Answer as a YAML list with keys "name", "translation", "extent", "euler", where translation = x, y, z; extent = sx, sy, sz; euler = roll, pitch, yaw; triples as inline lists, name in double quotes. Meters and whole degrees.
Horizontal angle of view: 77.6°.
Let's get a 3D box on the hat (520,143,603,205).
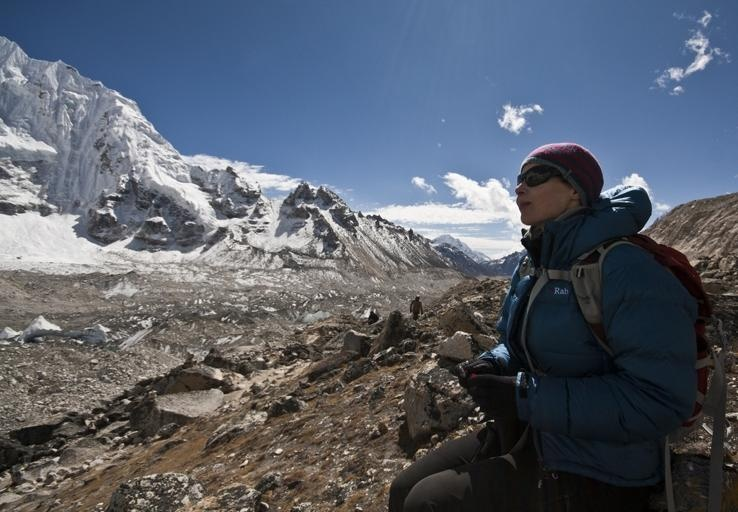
- name: "hat"
  translation: [2.271, -1.002, 5.485]
  extent: [0.842, 0.533, 0.689]
  euler: [8, -23, 42]
